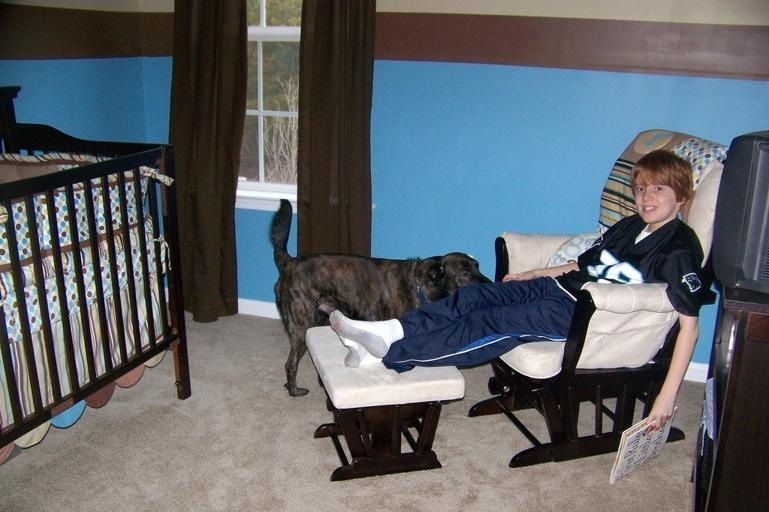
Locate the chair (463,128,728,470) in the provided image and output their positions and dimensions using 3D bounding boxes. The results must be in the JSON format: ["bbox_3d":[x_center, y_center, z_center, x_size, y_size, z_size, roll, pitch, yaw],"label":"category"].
[{"bbox_3d":[1.174,0.173,3.541,1.396,1.645,1.436,9,20,31],"label":"chair"}]

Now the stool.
[{"bbox_3d":[-0.020,0.825,3.389,0.659,0.602,0.811,-1,11,-14],"label":"stool"}]
